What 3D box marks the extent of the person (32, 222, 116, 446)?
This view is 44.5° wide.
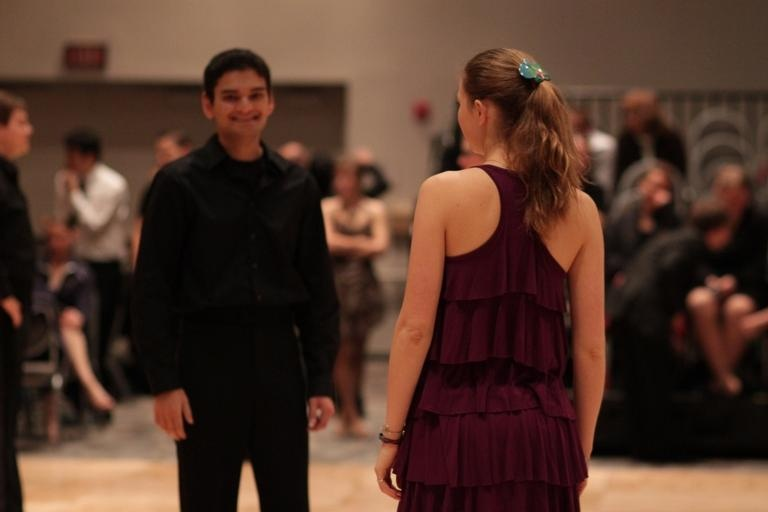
[{"bbox_3d":[-1.754,0.411,5.529,0.418,1.136,0.299,-4,4,5],"label":"person"}]

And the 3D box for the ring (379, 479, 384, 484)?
[{"bbox_3d":[-0.004,0.907,3.754,0.012,0.017,0.017,-3,-11,19],"label":"ring"}]
